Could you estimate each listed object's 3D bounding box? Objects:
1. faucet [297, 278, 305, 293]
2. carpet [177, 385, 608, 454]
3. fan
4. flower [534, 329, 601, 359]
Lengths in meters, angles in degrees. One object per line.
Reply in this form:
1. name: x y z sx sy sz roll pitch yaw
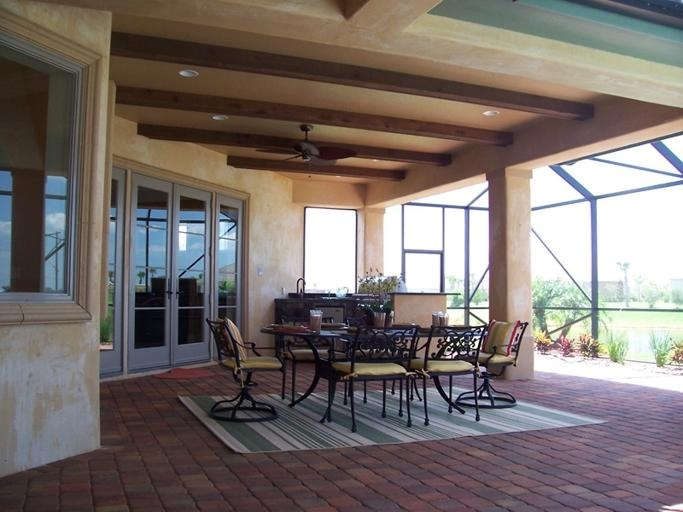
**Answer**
1. faucet: -0.801 0.537 9.491 0.179 0.278 0.313 1 -2 -5
2. carpet: 0.299 1.539 4.838 3.526 0.047 1.715 1 -2 -16
3. fan: -0.501 -1.503 6.581 1.314 0.450 1.274 9 14 20
4. flower: 3.981 1.600 8.988 0.347 0.334 0.903 7 -8 -34
